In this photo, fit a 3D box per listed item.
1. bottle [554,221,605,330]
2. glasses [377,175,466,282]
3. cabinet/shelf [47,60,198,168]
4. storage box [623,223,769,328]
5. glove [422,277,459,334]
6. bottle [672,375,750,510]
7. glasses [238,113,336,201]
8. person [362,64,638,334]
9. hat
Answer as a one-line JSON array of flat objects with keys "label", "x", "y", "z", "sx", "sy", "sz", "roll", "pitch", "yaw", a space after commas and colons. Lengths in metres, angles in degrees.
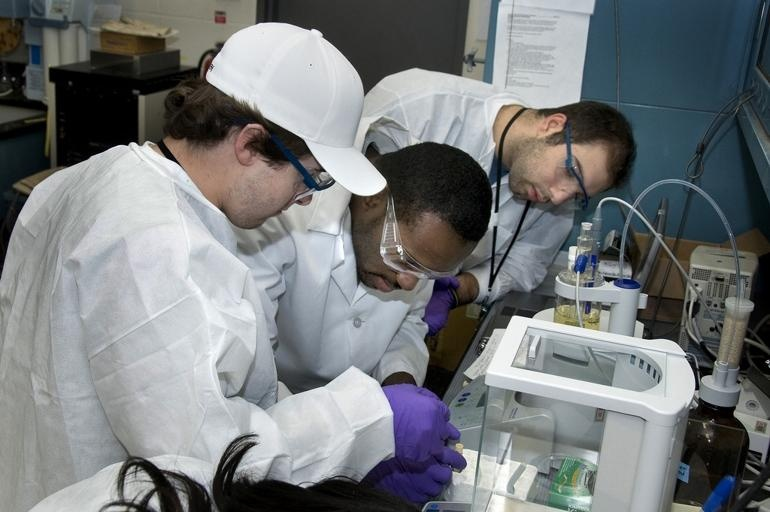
[{"label": "bottle", "x": 0.629, "y": 0.064, "z": 2.017, "sx": 0.153, "sy": 0.348, "sz": 0.344, "roll": 7, "pitch": 11, "yaw": 19}, {"label": "glasses", "x": 0.099, "y": -0.086, "z": 2.039, "sx": 0.061, "sy": 0.276, "sz": 0.233, "roll": -14, "pitch": -27, "yaw": 34}, {"label": "cabinet/shelf", "x": -2.079, "y": -0.969, "z": 4.414, "sx": 0.629, "sy": 0.707, "sz": 0.518, "roll": -6, "pitch": 26, "yaw": -45}, {"label": "storage box", "x": 1.363, "y": 0.069, "z": 2.750, "sx": 0.543, "sy": 0.411, "sz": 0.618, "roll": 10, "pitch": 12, "yaw": 23}, {"label": "glove", "x": 0.258, "y": 0.209, "z": 2.890, "sx": 0.075, "sy": 0.244, "sz": 0.177, "roll": 32, "pitch": -8, "yaw": 15}, {"label": "bottle", "x": 0.916, "y": 0.520, "z": 1.783, "sx": 0.266, "sy": 0.378, "sz": 0.139, "roll": -3, "pitch": 12, "yaw": -34}, {"label": "glasses", "x": -0.279, "y": -0.286, "z": 1.814, "sx": 0.076, "sy": 0.261, "sz": 0.182, "roll": -35, "pitch": 15, "yaw": -2}, {"label": "person", "x": 0.612, "y": -0.460, "z": 3.349, "sx": 1.289, "sy": 1.465, "sz": 1.087, "roll": -12, "pitch": -13, "yaw": 13}, {"label": "hat", "x": -0.217, "y": -0.472, "z": 1.880, "sx": 0.557, "sy": 0.353, "sz": 0.429, "roll": 26, "pitch": 17, "yaw": 4}]
